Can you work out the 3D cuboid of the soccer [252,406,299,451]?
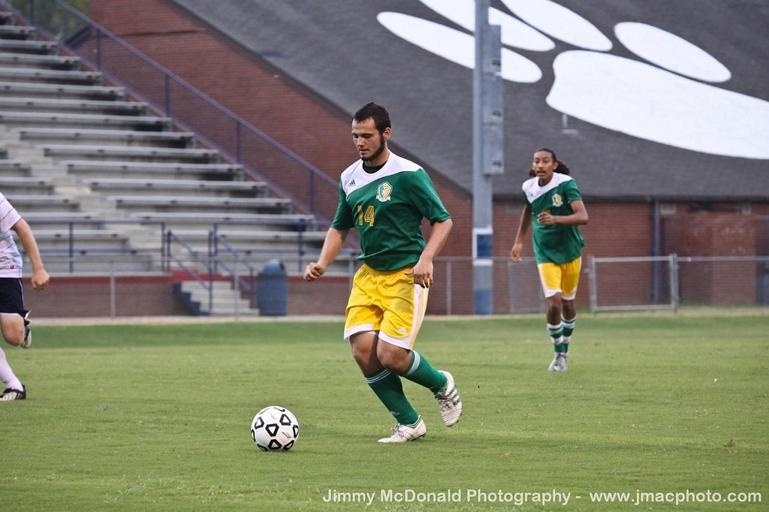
[{"bbox_3d":[-1.841,2.777,30.553,0.920,0.760,0.788,-3,20,-7],"label":"soccer"}]

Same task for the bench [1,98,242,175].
[{"bbox_3d":[-6.497,-2.881,44.575,5.047,1.802,1.249,0,-4,-18],"label":"bench"}]

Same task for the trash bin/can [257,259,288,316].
[{"bbox_3d":[-2.390,0.653,40.599,1.121,1.126,1.004,-2,5,-4],"label":"trash bin/can"}]
